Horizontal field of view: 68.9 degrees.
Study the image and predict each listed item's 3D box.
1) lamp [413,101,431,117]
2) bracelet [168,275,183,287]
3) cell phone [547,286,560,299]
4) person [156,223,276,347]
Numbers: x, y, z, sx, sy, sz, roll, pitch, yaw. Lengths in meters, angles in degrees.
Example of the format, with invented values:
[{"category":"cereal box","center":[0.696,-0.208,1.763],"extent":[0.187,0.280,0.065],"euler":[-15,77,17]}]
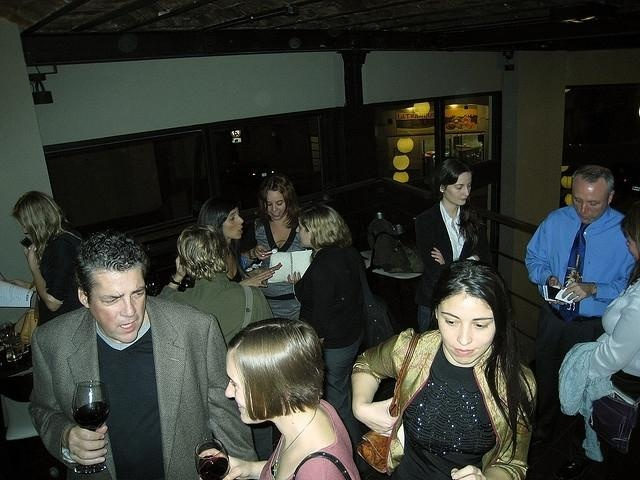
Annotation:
[{"category":"lamp","center":[1.743,-2.240,7.950],"extent":[0.073,0.223,0.438],"euler":[10,20,44]},{"category":"bracelet","center":[-1.025,0.299,3.302],"extent":[0.064,0.039,0.087],"euler":[-6,32,-47]},{"category":"cell phone","center":[1.611,0.365,3.224],"extent":[0.077,0.082,0.019],"euler":[7,-19,24]},{"category":"person","center":[-0.636,0.285,3.078],"extent":[0.578,0.835,0.459],"euler":[-5,41,-1]}]
